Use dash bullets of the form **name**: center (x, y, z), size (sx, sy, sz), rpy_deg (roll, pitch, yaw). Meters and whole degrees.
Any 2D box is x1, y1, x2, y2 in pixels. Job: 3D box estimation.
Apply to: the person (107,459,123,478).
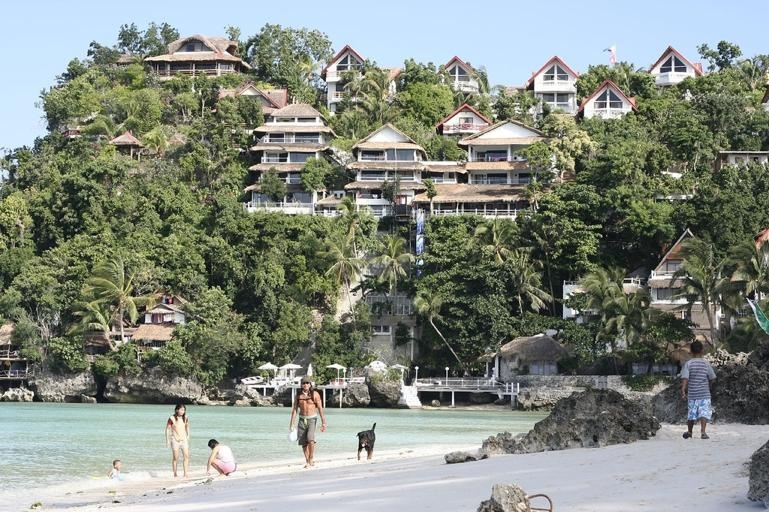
- **person**: center (-19.784, 15.657, 126.030), size (0.873, 1.409, 2.257), rpy_deg (-2, -6, -9)
